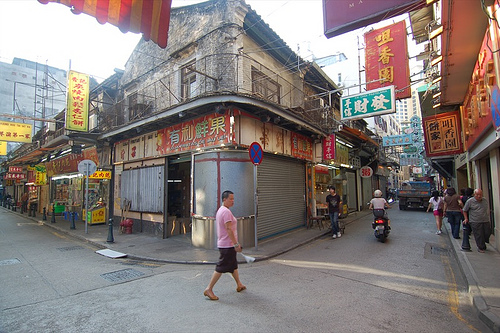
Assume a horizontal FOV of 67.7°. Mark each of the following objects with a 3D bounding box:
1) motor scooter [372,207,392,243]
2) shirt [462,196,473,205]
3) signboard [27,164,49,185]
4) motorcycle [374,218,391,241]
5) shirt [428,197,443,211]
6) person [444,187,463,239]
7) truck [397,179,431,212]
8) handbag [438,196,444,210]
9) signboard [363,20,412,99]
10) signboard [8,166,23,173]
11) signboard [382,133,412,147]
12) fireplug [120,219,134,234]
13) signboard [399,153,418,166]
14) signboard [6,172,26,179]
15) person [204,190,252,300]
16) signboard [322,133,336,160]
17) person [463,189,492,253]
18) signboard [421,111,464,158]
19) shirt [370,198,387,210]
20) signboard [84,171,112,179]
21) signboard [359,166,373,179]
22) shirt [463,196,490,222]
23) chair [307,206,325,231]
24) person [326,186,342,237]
[{"bbox_3d":[6.467,2.604,18.475,1.051,1.733,2.932,-7,0,21],"label":"motor scooter"},{"bbox_3d":[9.849,1.463,16.990,0.421,0.470,0.317,-4,29,-30],"label":"shirt"},{"bbox_3d":[-16.920,0.521,29.821,0.274,2.149,1.768,-4,-3,24],"label":"signboard"},{"bbox_3d":[6.092,2.879,17.380,0.486,1.034,0.729,-5,-6,23],"label":"motorcycle"},{"bbox_3d":[9.593,1.864,19.132,0.609,0.700,0.441,-4,-6,17],"label":"shirt"},{"bbox_3d":[9.558,2.142,17.453,0.715,2.351,1.296,-5,-6,28],"label":"person"},{"bbox_3d":[13.187,2.164,29.248,2.043,2.114,3.467,-6,-11,35],"label":"truck"},{"bbox_3d":[9.755,1.856,19.052,0.123,0.630,0.447,-7,-8,44],"label":"handbag"},{"bbox_3d":[5.957,-4.696,16.419,1.714,3.448,0.384,-7,-24,30],"label":"signboard"},{"bbox_3d":[-20.241,0.229,32.140,0.668,0.444,0.692,-1,-4,-12],"label":"signboard"},{"bbox_3d":[12.800,-2.343,32.430,0.327,1.058,2.189,32,-31,-31],"label":"signboard"},{"bbox_3d":[-6.386,3.095,19.435,0.546,0.832,0.706,-22,-32,38],"label":"fireplug"},{"bbox_3d":[19.010,-0.425,44.213,1.212,1.759,2.297,6,-8,-24],"label":"signboard"},{"bbox_3d":[-20.332,0.704,32.273,1.079,0.577,1.612,-3,-6,6],"label":"signboard"},{"bbox_3d":[-0.830,2.623,12.820,1.317,3.601,0.735,-2,-6,-3],"label":"person"},{"bbox_3d":[4.417,-1.176,21.023,0.833,1.471,0.235,-7,-7,39],"label":"signboard"},{"bbox_3d":[9.505,2.221,15.434,1.162,2.574,0.717,1,-6,-27],"label":"person"},{"bbox_3d":[10.073,-1.757,19.437,1.756,2.239,0.475,-5,-6,24],"label":"signboard"},{"bbox_3d":[6.086,1.716,17.801,0.748,0.680,0.412,-1,-13,25],"label":"shirt"},{"bbox_3d":[-8.571,0.400,21.403,1.125,0.478,0.893,-1,-7,-17],"label":"signboard"},{"bbox_3d":[8.465,0.302,27.175,0.745,0.862,1.749,-4,-7,16],"label":"signboard"},{"bbox_3d":[9.452,1.755,15.395,1.032,1.100,0.640,-3,2,0],"label":"shirt"},{"bbox_3d":[3.600,2.757,20.436,1.025,1.616,0.939,-3,-5,24],"label":"chair"},{"bbox_3d":[4.235,2.227,18.725,0.697,2.452,0.782,-3,-6,11],"label":"person"}]
